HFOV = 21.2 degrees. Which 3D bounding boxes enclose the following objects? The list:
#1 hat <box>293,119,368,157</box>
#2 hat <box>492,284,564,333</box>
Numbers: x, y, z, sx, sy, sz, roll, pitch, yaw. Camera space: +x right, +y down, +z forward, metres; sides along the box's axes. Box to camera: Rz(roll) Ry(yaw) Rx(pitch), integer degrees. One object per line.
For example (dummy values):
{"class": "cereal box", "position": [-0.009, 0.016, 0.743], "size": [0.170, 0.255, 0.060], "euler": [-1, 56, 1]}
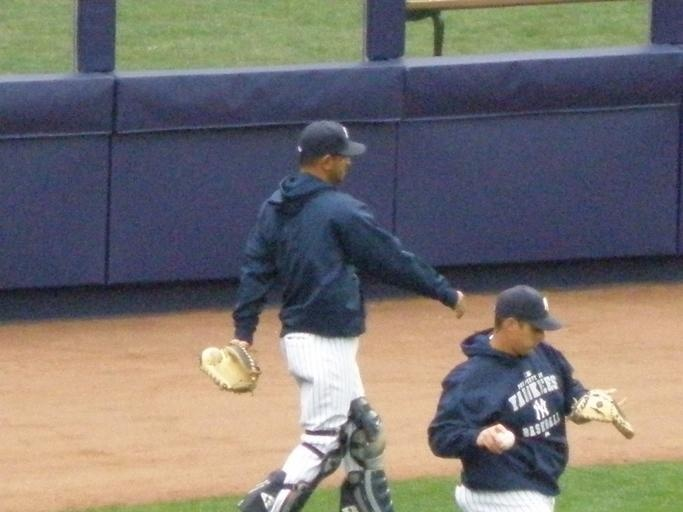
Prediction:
{"class": "hat", "position": [-0.064, -0.881, 13.768], "size": [0.403, 0.219, 0.272], "euler": [-6, 16, -2]}
{"class": "hat", "position": [1.337, 0.342, 12.971], "size": [0.397, 0.228, 0.283], "euler": [6, 9, 5]}
